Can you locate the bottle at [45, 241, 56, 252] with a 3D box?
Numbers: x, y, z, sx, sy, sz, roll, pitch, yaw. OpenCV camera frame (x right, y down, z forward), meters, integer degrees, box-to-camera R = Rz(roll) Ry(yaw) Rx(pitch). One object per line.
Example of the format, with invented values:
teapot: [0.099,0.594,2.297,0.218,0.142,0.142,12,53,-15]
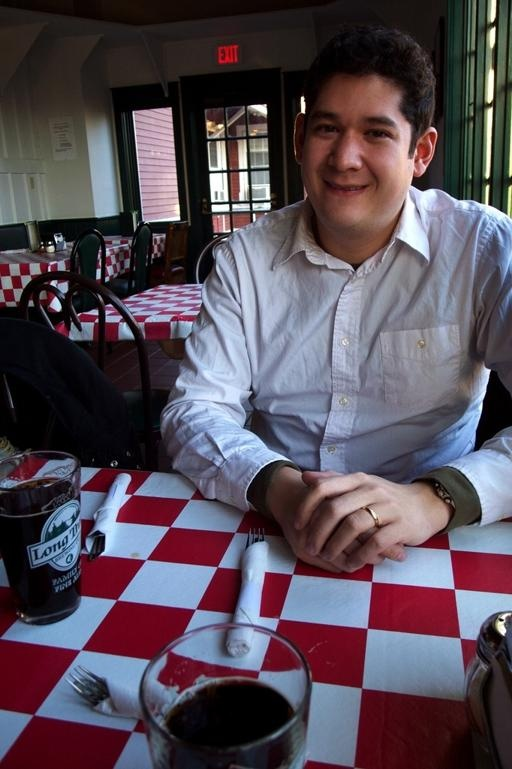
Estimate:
bottle: [-1.741,-1.169,4.460,0.080,0.082,0.083,0,29,-2]

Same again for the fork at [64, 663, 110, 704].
fork: [-0.146,0.264,0.458,0.022,0.010,0.039,-10,20,-37]

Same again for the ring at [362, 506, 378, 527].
ring: [0.153,0.177,0.704,0.007,0.019,0.015,-33,-31,14]
